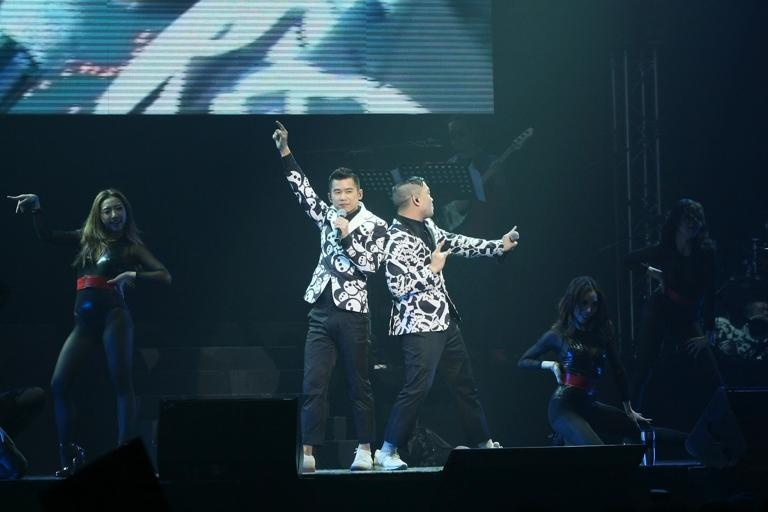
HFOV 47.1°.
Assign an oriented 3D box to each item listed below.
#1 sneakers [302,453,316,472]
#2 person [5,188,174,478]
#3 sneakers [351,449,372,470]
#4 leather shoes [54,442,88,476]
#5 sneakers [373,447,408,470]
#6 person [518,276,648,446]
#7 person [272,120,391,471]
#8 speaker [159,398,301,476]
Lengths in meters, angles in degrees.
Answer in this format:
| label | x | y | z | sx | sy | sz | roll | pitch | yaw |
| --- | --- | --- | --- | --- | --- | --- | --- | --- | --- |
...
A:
| label | x | y | z | sx | sy | sz | roll | pitch | yaw |
| --- | --- | --- | --- | --- | --- | --- | --- | --- | --- |
| sneakers | -0.653 | 1.796 | 7.706 | 0.141 | 0.130 | 0.138 | 5 | -4 | -36 |
| person | -2.583 | 0.656 | 8.137 | 1.216 | 2.519 | 0.698 | -2 | 9 | -13 |
| sneakers | -0.189 | 1.763 | 7.714 | 0.199 | 0.201 | 0.137 | -1 | 9 | -8 |
| leather shoes | -2.822 | 1.821 | 7.961 | 0.266 | 0.287 | 0.167 | -4 | 10 | -20 |
| sneakers | 0.068 | 1.776 | 7.675 | 0.342 | 0.140 | 0.136 | -12 | -29 | 43 |
| person | 1.763 | 1.211 | 7.848 | 1.102 | 1.971 | 1.028 | 1 | 6 | 29 |
| person | -0.420 | 0.458 | 7.884 | 0.876 | 2.723 | 0.906 | -1 | 9 | -6 |
| speaker | -1.175 | 1.383 | 6.966 | 1.097 | 0.636 | 0.562 | 0 | 2 | -4 |
